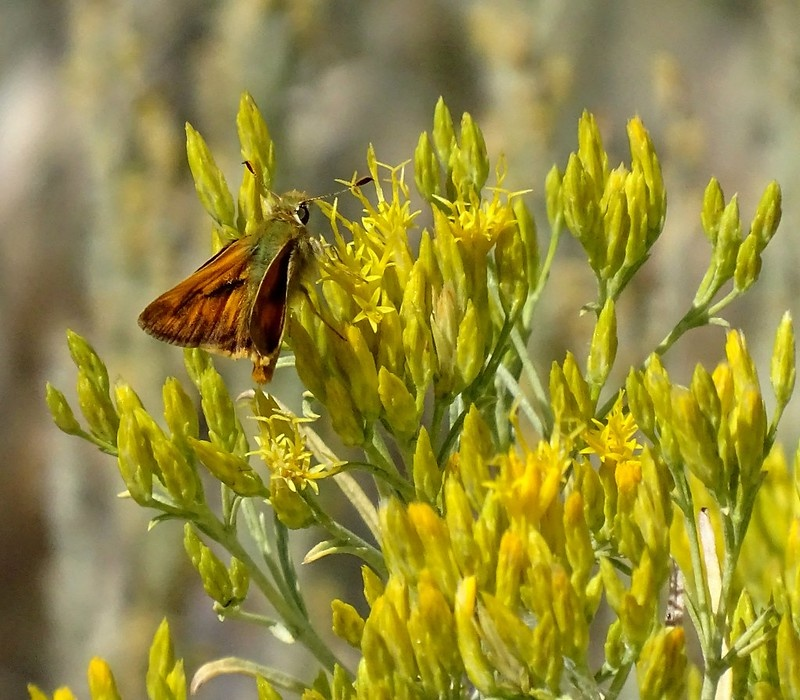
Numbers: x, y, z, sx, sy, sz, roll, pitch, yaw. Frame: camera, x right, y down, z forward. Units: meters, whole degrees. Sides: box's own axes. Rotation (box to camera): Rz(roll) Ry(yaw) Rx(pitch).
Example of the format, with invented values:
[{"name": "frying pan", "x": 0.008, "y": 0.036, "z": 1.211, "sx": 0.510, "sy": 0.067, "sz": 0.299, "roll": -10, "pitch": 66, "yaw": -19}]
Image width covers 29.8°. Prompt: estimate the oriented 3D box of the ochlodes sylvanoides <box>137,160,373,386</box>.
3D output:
[{"name": "ochlodes sylvanoides", "x": -0.187, "y": -0.096, "z": 2.161, "sx": 0.337, "sy": 0.232, "sz": 0.247, "roll": -35, "pitch": 24, "yaw": -30}]
